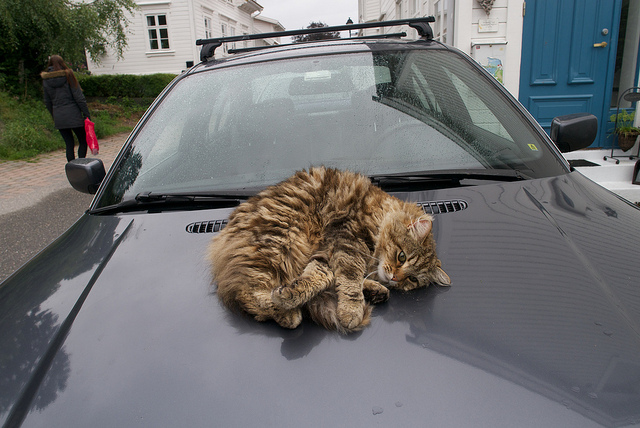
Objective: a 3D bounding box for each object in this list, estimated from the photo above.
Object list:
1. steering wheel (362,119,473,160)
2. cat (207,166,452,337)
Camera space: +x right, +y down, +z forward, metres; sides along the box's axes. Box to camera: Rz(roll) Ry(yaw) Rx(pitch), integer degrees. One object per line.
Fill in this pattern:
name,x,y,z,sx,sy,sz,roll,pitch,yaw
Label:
steering wheel,0.533,-0.429,2.456,0.608,0.175,0.216,-3,24,-1
cat,0.018,0.170,1.819,0.773,0.276,0.689,17,48,4
